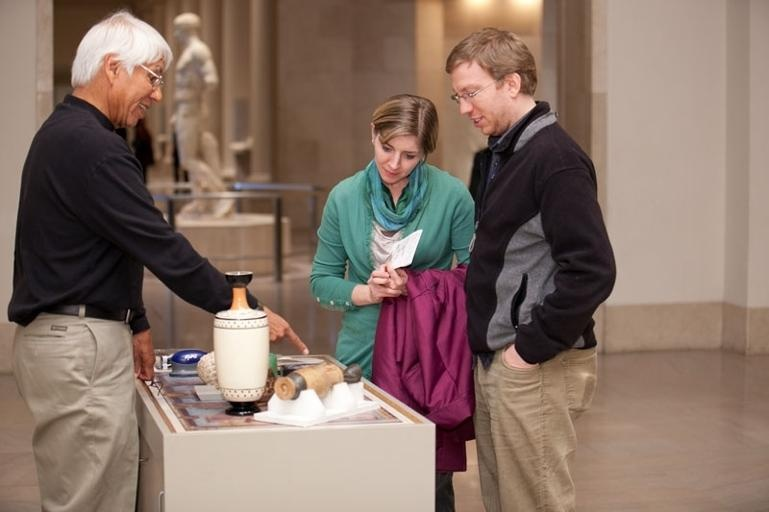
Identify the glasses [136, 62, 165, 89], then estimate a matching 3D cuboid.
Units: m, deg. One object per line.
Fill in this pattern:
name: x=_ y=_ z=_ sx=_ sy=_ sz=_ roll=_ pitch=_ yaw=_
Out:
glasses: x=-1.060 y=-0.817 z=3.917 sx=0.031 sy=0.096 sz=0.093 roll=-41 pitch=-21 yaw=22
